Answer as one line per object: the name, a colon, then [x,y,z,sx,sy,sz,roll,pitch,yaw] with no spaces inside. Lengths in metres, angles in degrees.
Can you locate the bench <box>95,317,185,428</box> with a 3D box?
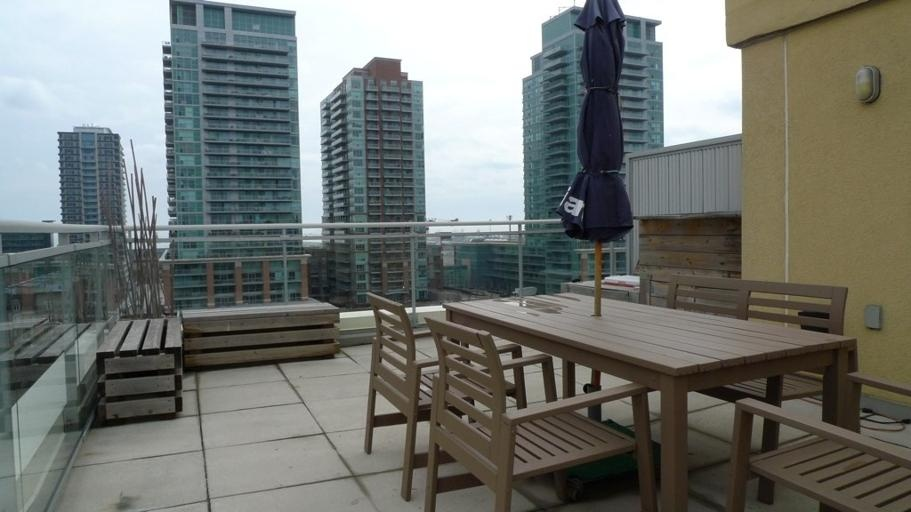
bench: [-3.195,0.927,6.096,0.857,0.636,1.488,-2,10,-22]
